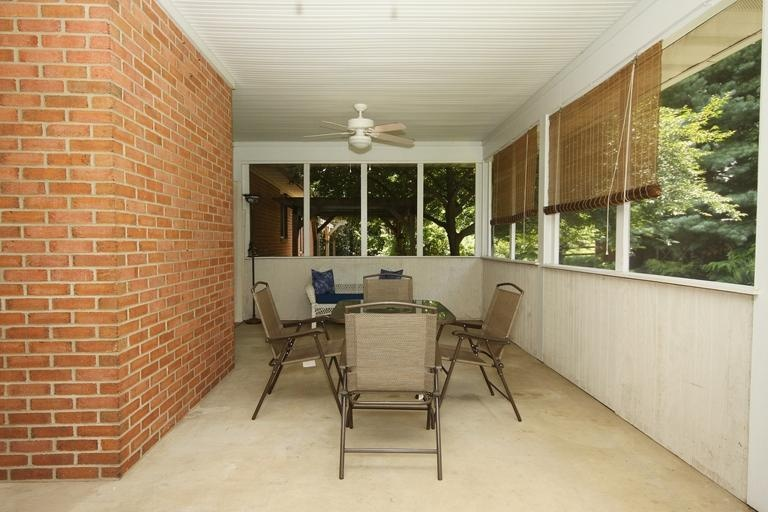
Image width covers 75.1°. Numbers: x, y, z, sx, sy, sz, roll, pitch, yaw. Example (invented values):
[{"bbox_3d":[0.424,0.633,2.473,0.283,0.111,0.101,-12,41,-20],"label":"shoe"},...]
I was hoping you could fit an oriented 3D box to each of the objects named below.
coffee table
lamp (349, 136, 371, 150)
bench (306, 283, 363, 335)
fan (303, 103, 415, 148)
[{"bbox_3d":[0.098,0.947,4.705,1.116,1.633,1.200,1,-1,1],"label":"coffee table"},{"bbox_3d":[-0.304,-1.518,6.595,0.260,0.160,0.230,-2,12,-9],"label":"lamp"},{"bbox_3d":[-0.837,0.857,8.844,1.173,0.633,0.625,-1,2,-8],"label":"bench"},{"bbox_3d":[-0.281,-1.690,6.535,1.367,0.558,1.344,8,22,5],"label":"fan"}]
